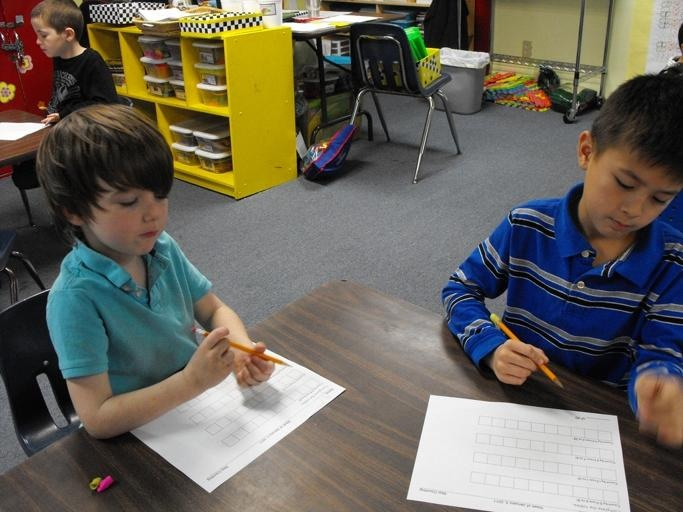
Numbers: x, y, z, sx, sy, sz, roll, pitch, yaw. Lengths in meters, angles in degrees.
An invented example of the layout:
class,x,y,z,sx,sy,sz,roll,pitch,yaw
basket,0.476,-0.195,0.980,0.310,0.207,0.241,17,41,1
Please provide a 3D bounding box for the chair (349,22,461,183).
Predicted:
class,x,y,z,sx,sy,sz,roll,pitch,yaw
chair,0.454,-1.216,3.641,0.733,1.044,0.805,18,35,32

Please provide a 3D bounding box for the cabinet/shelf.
class,x,y,z,sx,sy,sz,roll,pitch,yaw
cabinet/shelf,-1.083,-1.163,3.731,1.535,1.038,0.614,22,35,39

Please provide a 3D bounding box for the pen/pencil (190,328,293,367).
class,x,y,z,sx,sy,sz,roll,pitch,yaw
pen/pencil,-0.169,0.182,0.922,0.024,0.024,0.308,2,-24,35

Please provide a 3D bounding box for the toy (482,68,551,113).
class,x,y,z,sx,sy,sz,roll,pitch,yaw
toy,1.775,-1.668,4.847,0.573,0.173,0.416,27,43,37

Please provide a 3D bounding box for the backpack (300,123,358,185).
class,x,y,z,sx,sy,sz,roll,pitch,yaw
backpack,-0.073,-0.743,3.534,0.187,0.469,0.337,38,3,26

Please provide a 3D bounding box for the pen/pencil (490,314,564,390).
class,x,y,z,sx,sy,sz,roll,pitch,yaw
pen/pencil,0.382,0.198,0.965,0.021,0.025,0.193,26,14,-46
